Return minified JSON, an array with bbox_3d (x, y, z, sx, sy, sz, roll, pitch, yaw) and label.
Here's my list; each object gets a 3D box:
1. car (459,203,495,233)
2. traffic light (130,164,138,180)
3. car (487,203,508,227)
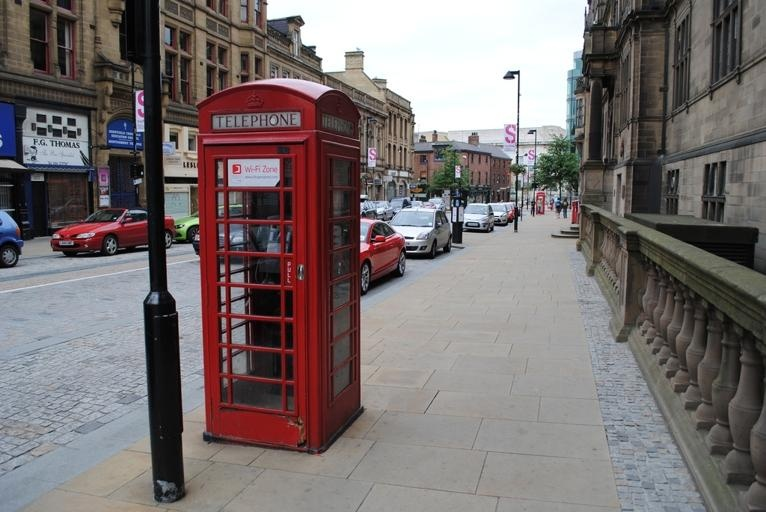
[{"bbox_3d":[5.656,-2.140,36.673,1.713,1.468,2.674,1,11,12],"label":"car"},{"bbox_3d":[-10.641,-3.626,26.666,0.334,0.608,1.030,-6,12,-28],"label":"traffic light"},{"bbox_3d":[8.494,-3.023,44.514,1.230,1.074,2.827,-1,1,11],"label":"car"}]
